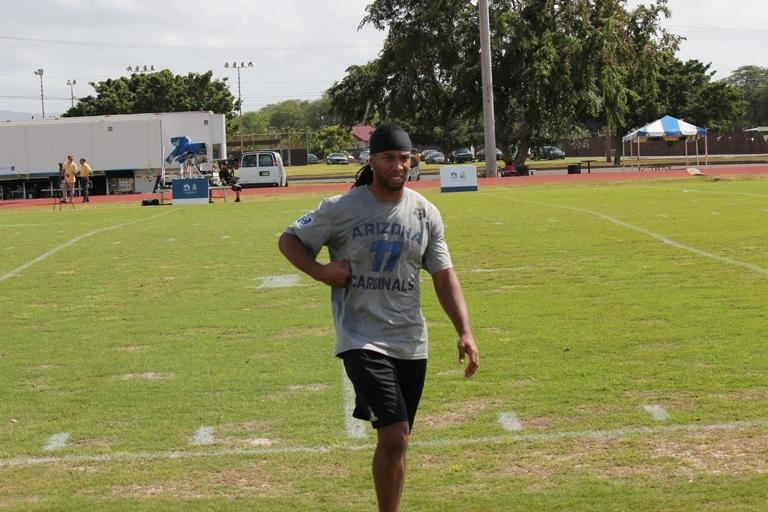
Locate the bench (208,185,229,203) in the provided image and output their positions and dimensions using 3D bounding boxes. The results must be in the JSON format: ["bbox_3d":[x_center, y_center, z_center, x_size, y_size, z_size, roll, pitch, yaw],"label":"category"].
[{"bbox_3d":[-5.626,-2.110,35.618,1.088,0.548,0.662,0,8,-3],"label":"bench"}]

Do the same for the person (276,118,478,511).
[{"bbox_3d":[0.013,0.532,9.216,1.154,3.345,1.278,-13,17,-36],"label":"person"}]

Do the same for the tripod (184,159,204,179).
[{"bbox_3d":[-7.236,-3.338,39.450,0.623,0.685,0.489,-8,14,-24],"label":"tripod"}]
